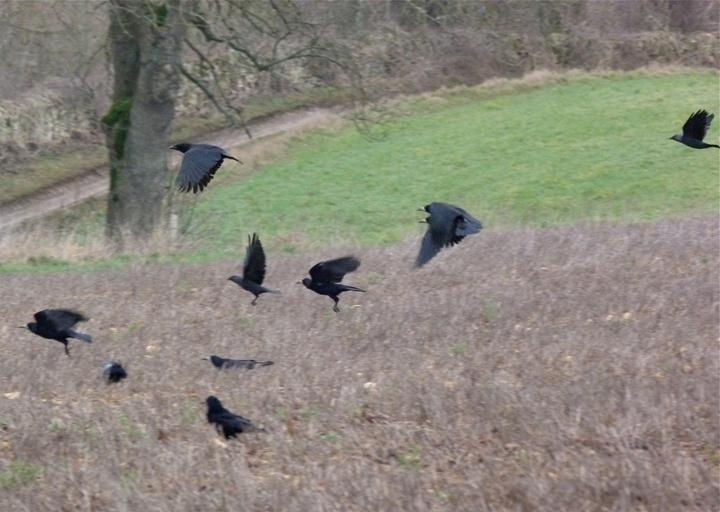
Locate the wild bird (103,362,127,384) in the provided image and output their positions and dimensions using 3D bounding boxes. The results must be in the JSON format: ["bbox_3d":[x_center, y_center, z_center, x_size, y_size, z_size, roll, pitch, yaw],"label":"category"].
[{"bbox_3d":[-4.399,2.063,22.277,0.266,0.355,0.482,5,23,46],"label":"wild bird"}]

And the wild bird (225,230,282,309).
[{"bbox_3d":[-1.952,0.063,22.313,0.494,1.338,1.058,-27,21,-25],"label":"wild bird"}]

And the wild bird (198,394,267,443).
[{"bbox_3d":[-2.315,2.857,21.561,1.147,0.372,0.662,22,43,14],"label":"wild bird"}]

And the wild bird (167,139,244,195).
[{"bbox_3d":[-2.980,-1.693,22.469,1.462,0.431,1.226,5,43,8],"label":"wild bird"}]

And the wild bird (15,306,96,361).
[{"bbox_3d":[-5.449,1.252,22.057,1.201,0.427,1.343,-3,10,-4],"label":"wild bird"}]
